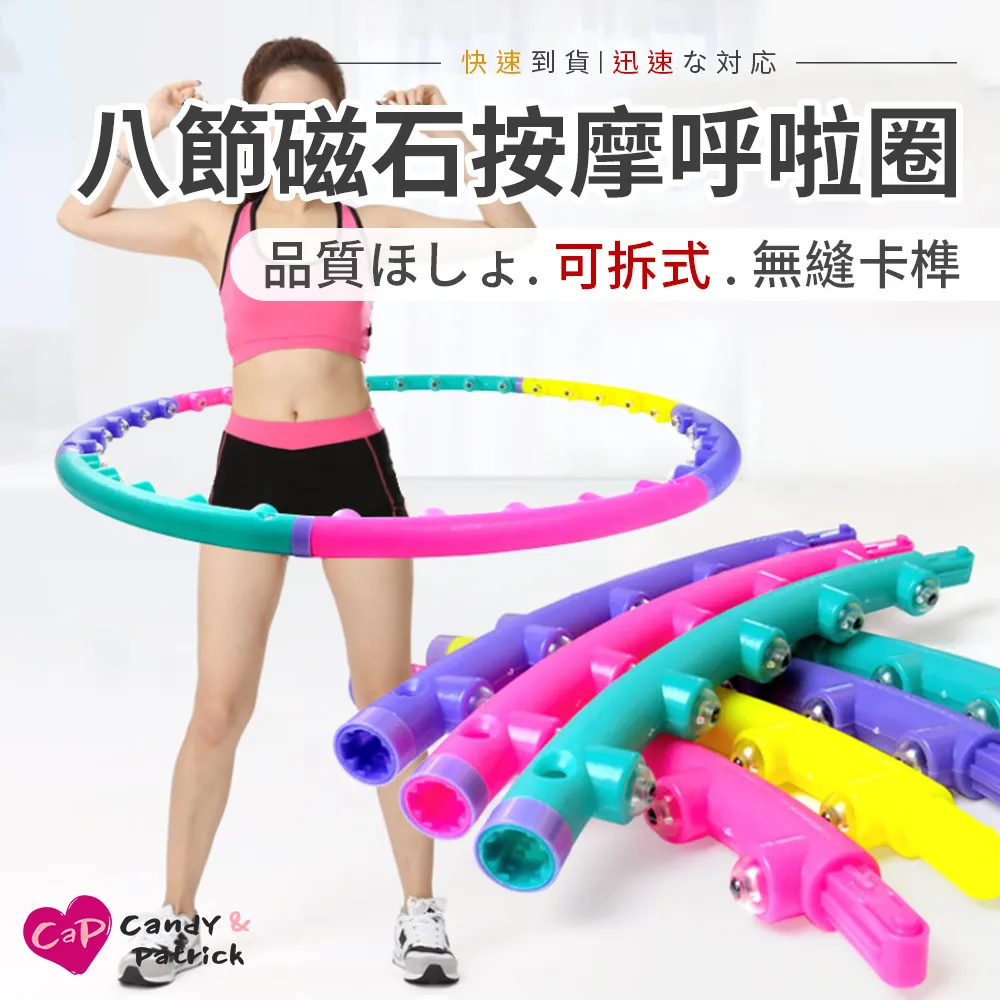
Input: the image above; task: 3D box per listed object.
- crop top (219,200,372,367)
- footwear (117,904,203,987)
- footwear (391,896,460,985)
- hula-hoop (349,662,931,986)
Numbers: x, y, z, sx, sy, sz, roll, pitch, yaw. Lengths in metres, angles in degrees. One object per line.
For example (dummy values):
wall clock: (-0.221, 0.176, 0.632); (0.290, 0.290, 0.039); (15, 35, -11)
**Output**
crop top: (-0.461, -0.469, 2.174); (0.332, 0.442, 0.256); (-3, -9, -5)
footwear: (-0.629, 0.823, 1.802); (0.102, 0.109, 0.256); (-1, -14, 5)
footwear: (-0.135, 0.803, 1.796); (0.101, 0.130, 0.284); (6, -11, -11)
hula-hoop: (0.282, 0.626, 2.009); (0.391, 0.287, 1.181); (-32, 35, -21)
